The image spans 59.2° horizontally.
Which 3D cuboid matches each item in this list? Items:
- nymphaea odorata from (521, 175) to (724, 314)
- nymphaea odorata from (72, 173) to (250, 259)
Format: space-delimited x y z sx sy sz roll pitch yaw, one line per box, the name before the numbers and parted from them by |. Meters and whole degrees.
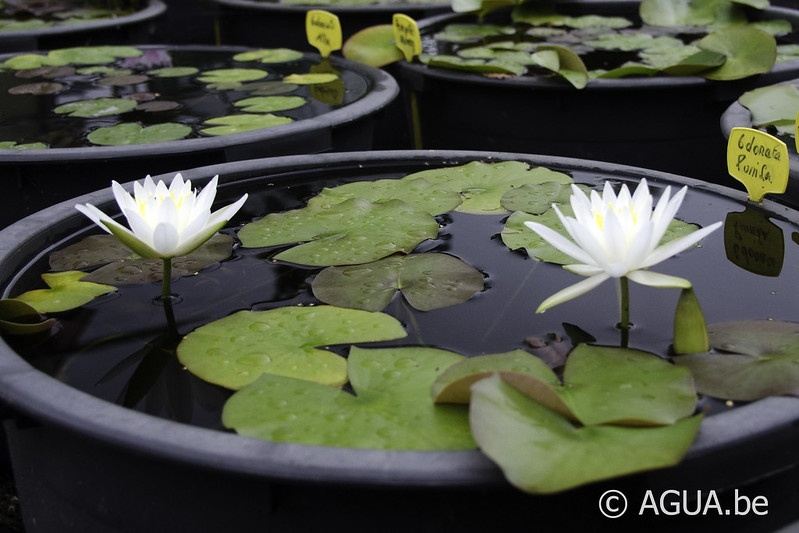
nymphaea odorata | 0.319 -0.019 1.021 0.243 0.085 0.234 2 -10 -24
nymphaea odorata | -0.336 -0.062 1.087 0.238 0.059 0.165 -6 -2 16
